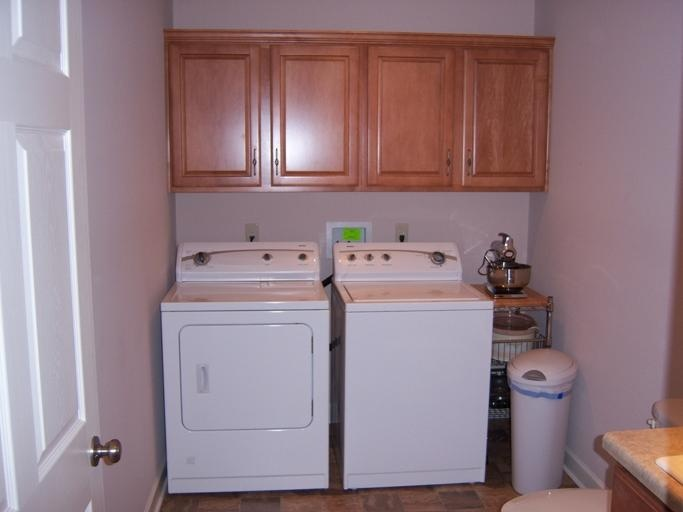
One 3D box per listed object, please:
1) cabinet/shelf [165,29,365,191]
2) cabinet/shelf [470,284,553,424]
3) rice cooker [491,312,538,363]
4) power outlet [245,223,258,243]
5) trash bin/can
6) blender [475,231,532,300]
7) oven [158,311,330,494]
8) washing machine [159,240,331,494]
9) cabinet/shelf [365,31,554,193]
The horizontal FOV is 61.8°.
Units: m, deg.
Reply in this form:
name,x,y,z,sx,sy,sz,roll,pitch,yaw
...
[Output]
name,x,y,z,sx,sy,sz,roll,pitch,yaw
cabinet/shelf,-0.410,-0.770,3.266,1.085,0.867,0.361,1,6,4
cabinet/shelf,0.975,0.553,3.301,0.293,0.745,0.538,0,6,-1
rice cooker,0.968,0.430,3.265,0.242,0.306,0.252,3,8,2
power outlet,-0.548,-0.147,3.490,0.085,0.105,0.019,-4,9,-10
trash bin/can,0.965,0.807,2.971,0.407,0.671,0.407,0,5,-6
blender,0.910,0.064,3.282,0.260,0.400,0.259,6,10,1
oven,-0.527,0.650,3.102,0.779,0.922,0.739,1,9,-13
washing machine,-0.496,0.556,3.102,0.836,1.192,0.681,-1,10,-11
cabinet/shelf,0.653,-0.766,3.334,1.040,0.926,0.402,0,3,-3
